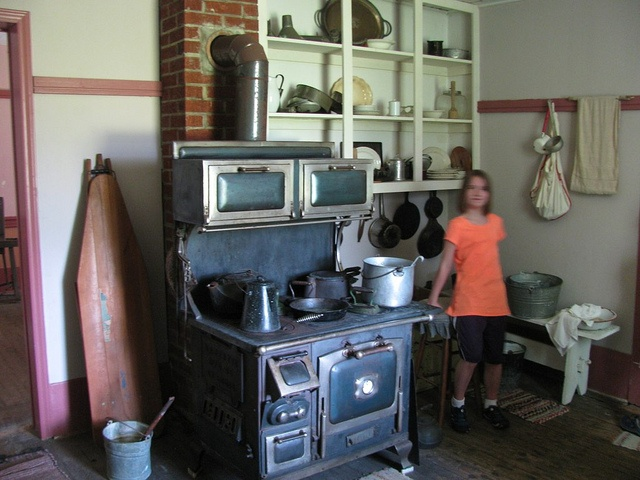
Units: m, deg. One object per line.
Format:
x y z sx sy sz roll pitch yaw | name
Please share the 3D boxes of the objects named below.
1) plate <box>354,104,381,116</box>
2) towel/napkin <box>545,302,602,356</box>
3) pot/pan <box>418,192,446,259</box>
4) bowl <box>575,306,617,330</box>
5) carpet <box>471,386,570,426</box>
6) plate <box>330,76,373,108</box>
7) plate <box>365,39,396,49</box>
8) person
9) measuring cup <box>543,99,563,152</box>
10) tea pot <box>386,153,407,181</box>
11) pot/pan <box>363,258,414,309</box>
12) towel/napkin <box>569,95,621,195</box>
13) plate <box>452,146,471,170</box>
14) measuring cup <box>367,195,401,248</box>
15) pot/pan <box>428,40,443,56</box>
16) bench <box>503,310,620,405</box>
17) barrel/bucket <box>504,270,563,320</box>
0.362 -0.996 4.135 0.222 0.071 0.073 -4 15 -21 | plate
1.880 0.608 3.975 0.414 0.181 0.325 -24 9 -20 | towel/napkin
1.009 -0.137 4.856 0.101 0.598 0.263 10 11 37 | pot/pan
2.070 0.594 3.943 0.190 0.043 0.184 -9 10 2 | bowl
1.540 1.220 3.931 0.463 0.006 0.280 10 14 43 | carpet
0.294 -1.173 4.210 0.428 0.235 0.371 -3 14 -19 | plate
0.465 -1.508 4.140 0.205 0.080 0.120 2 14 2 | plate
0.971 0.379 3.722 0.569 1.786 0.605 2 14 -3 | person
1.849 -0.887 4.236 0.137 0.405 0.184 6 15 18 | measuring cup
0.616 -0.572 4.306 0.189 0.185 0.143 0 3 40 | tea pot
0.391 0.234 3.304 0.309 0.266 0.308 -4 13 -28 | pot/pan
2.079 -0.713 4.021 0.316 0.694 0.088 10 16 24 | towel/napkin
1.264 -0.725 4.793 0.216 0.208 0.046 10 5 38 | plate
0.554 -0.138 4.584 0.262 0.491 0.156 -7 17 -31 | measuring cup
0.973 -1.623 4.541 0.156 0.130 0.138 2 10 17 | pot/pan
1.859 0.895 4.078 0.222 0.356 0.724 -8 11 -32 | bench
1.657 0.424 4.164 0.385 0.240 0.388 -2 6 0 | barrel/bucket
